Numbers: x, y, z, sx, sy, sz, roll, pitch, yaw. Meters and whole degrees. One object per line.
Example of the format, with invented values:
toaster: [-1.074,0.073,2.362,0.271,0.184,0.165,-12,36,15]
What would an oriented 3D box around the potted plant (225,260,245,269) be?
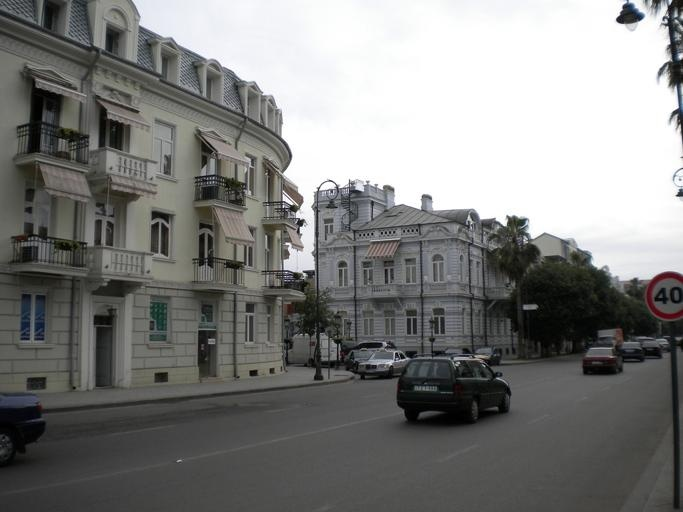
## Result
potted plant: [-5.482,0.393,37.873,0.439,0.492,1.391,-6,-12,25]

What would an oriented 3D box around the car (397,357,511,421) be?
car: [3.534,4.053,22.586,3.449,1.973,1.677,4,-11,-31]

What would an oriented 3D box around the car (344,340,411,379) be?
car: [2.409,6.303,44.945,1.823,1.575,4.620,-4,-12,16]

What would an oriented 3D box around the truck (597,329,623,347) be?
truck: [25.360,7.726,70.152,1.307,1.441,2.614,-6,-17,26]
